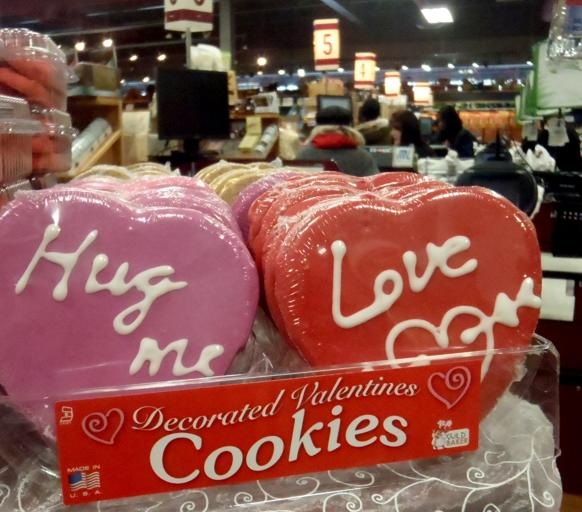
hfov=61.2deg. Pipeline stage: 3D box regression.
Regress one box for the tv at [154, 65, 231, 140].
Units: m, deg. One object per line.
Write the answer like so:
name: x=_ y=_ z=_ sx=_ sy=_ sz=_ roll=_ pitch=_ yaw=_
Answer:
tv: x=-0.827 y=-1.271 z=4.093 sx=0.715 sy=0.619 sz=0.094 roll=-6 pitch=11 yaw=-41
